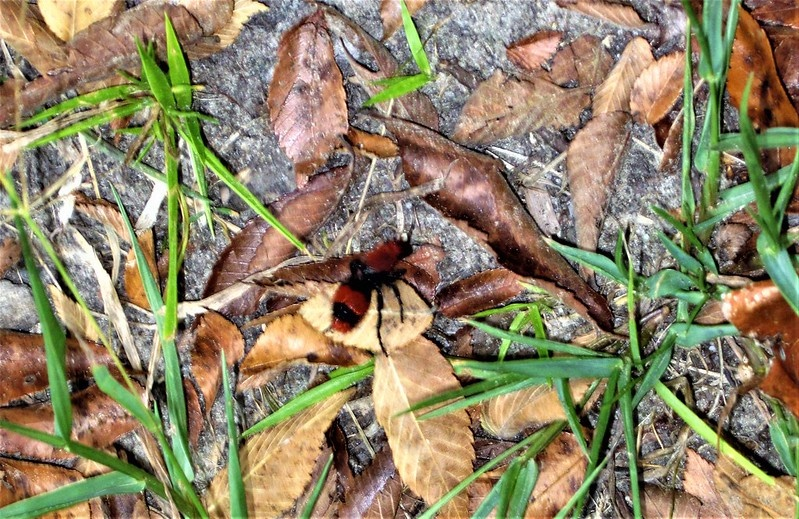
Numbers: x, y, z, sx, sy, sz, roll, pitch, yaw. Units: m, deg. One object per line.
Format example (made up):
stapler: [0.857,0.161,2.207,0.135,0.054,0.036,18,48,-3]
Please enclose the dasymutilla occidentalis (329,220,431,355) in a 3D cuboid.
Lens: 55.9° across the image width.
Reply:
dasymutilla occidentalis: [-0.043,0.093,1.691,0.264,0.040,0.220,-28,78,-9]
